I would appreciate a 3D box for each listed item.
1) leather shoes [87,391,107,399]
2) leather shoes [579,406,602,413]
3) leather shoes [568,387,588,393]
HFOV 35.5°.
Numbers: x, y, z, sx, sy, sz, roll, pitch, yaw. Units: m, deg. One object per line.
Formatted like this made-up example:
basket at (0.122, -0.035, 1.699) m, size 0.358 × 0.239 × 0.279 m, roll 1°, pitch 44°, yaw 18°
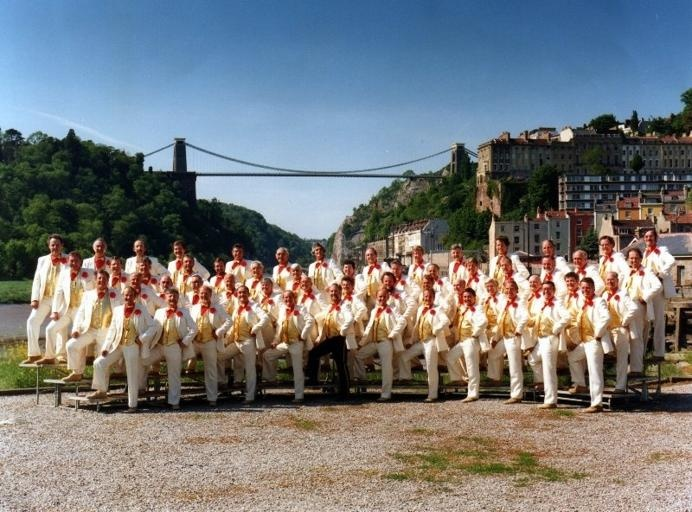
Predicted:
leather shoes at (-4.821, 2.703, 20.998) m, size 0.374 × 0.149 × 0.129 m, roll 4°, pitch -5°, yaw -1°
leather shoes at (4.776, 3.001, 21.102) m, size 0.405 × 0.152 × 0.144 m, roll 2°, pitch -7°, yaw -5°
leather shoes at (4.667, 2.671, 21.725) m, size 0.311 × 0.125 × 0.143 m, roll 3°, pitch 7°, yaw 2°
